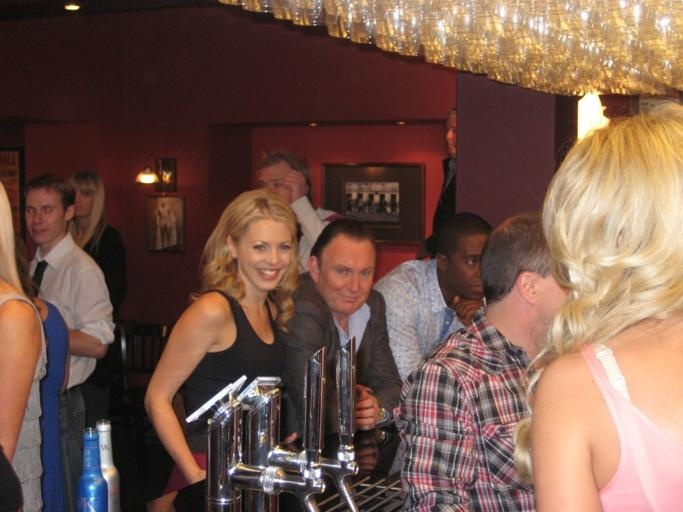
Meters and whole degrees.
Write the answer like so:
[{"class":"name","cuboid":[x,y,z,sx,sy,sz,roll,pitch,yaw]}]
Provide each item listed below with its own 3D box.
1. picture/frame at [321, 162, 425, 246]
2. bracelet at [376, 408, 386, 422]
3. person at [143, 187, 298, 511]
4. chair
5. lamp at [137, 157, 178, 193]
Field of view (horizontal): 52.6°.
[{"class":"picture/frame","cuboid":[0.376,-0.527,6.629,1.020,0.825,0.050,1,4,19]},{"class":"bracelet","cuboid":[0.156,0.622,2.691,0.026,0.043,0.043,0,-2,4]},{"class":"person","cuboid":[-0.444,0.254,2.661,0.383,1.049,0.656,3,3,26]},{"class":"chair","cuboid":[-1.376,0.961,4.956,0.404,0.898,0.417,2,-5,36]},{"class":"lamp","cuboid":[-2.020,-0.882,7.340,0.459,0.364,0.334,3,2,30]}]
